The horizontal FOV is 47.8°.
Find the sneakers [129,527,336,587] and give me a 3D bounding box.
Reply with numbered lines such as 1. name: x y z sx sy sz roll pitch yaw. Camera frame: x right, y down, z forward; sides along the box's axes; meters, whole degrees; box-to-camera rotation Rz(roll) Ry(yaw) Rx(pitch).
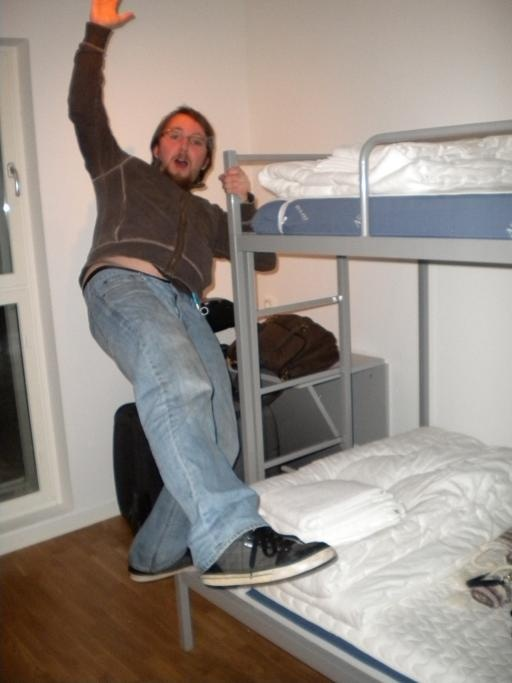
1. sneakers: -0.038 0.487 1.238 0.375 0.151 0.118 -16 -26 15

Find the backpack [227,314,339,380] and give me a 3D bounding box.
1. backpack: 0.146 0.013 2.364 0.344 0.136 0.269 -18 32 -31
